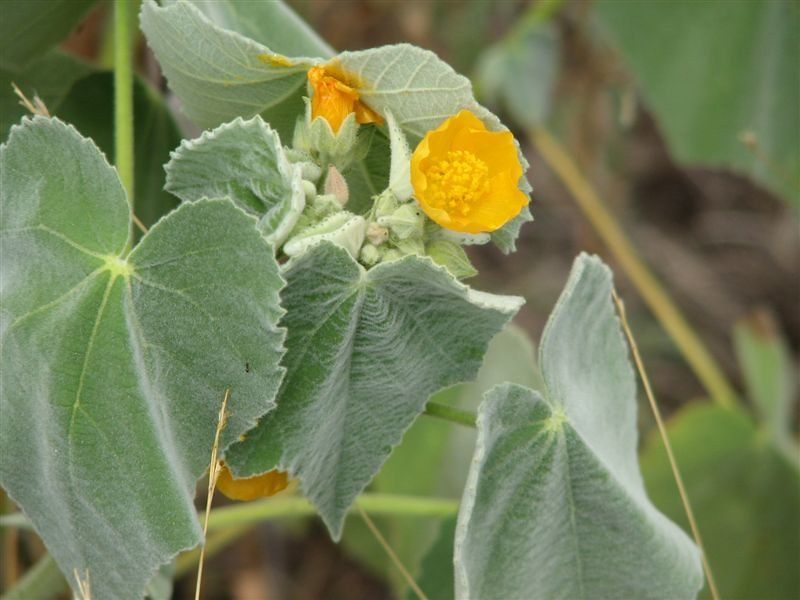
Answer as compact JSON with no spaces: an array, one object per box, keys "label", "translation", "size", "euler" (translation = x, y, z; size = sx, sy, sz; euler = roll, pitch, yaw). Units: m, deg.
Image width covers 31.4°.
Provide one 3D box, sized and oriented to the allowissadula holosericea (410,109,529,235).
[{"label":"allowissadula holosericea","translation":[0.078,-0.156,1.864],"size":[0.142,0.163,0.075],"euler":[35,-8,-15]}]
